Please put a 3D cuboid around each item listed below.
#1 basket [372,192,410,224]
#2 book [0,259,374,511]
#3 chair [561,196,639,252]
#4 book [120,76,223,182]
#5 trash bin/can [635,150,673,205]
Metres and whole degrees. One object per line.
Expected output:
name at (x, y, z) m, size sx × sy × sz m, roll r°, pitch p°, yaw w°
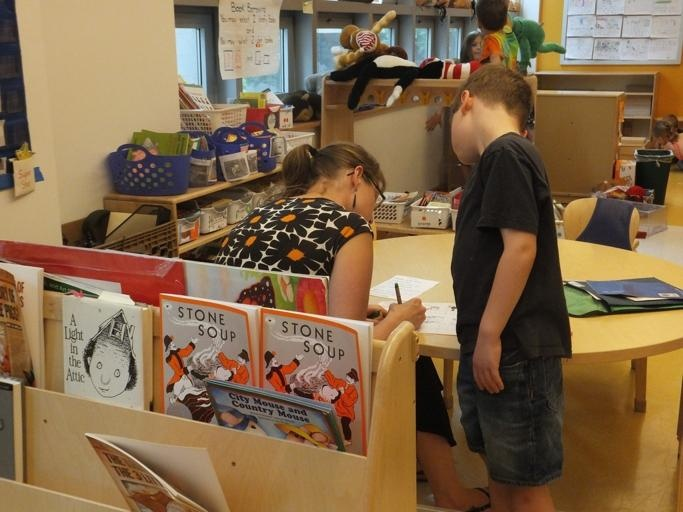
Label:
basket at (0.355, -0.319, 4.029) m, size 0.157 × 0.102 × 0.253 m, roll 6°, pitch 23°, yaw 20°
book at (-0.353, 0.305, 1.354) m, size 0.429 × 0.461 × 0.245 m, roll 8°, pitch 15°, yaw 22°
chair at (1.378, -0.229, 3.331) m, size 0.302 × 0.455 × 0.322 m, roll 6°, pitch 19°, yaw 29°
book at (-0.805, -0.608, 3.127) m, size 0.528 × 0.561 × 0.463 m, roll -6°, pitch 6°, yaw -3°
trash bin/can at (2.886, -0.741, 5.724) m, size 0.297 × 0.491 × 0.430 m, roll 9°, pitch 17°, yaw 37°
